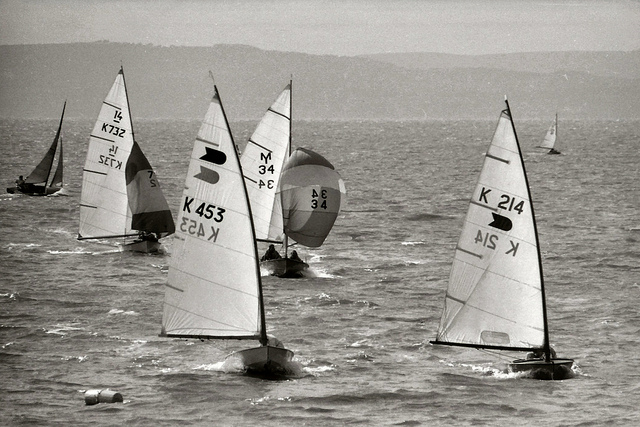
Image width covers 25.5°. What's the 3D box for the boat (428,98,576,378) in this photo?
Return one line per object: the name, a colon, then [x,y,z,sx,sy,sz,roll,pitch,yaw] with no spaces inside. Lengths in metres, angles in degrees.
boat: [14.762,1.279,113.144,7.552,18.836,2.184,8,9,7]
